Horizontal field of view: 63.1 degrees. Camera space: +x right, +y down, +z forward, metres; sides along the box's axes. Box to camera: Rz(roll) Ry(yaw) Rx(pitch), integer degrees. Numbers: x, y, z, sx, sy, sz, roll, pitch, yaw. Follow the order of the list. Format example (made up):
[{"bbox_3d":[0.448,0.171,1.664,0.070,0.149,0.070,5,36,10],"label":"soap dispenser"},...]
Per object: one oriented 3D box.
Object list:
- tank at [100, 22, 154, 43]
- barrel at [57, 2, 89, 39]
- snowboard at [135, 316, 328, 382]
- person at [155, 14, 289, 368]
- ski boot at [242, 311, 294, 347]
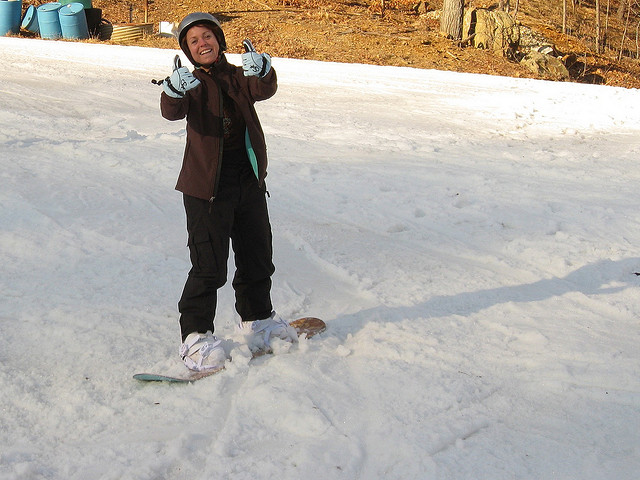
[{"bbox_3d":[-7.502,-7.902,19.856,1.829,0.740,1.688,0,20,-14],"label":"tank"},{"bbox_3d":[-9.133,-8.052,19.206,0.931,1.211,0.735,1,20,-10],"label":"barrel"},{"bbox_3d":[-0.659,0.850,3.845,1.249,0.127,0.298,-13,26,-43],"label":"snowboard"},{"bbox_3d":[-0.666,-0.326,3.675,0.773,2.321,0.710,-9,24,-33],"label":"person"},{"bbox_3d":[-0.467,0.702,4.065,0.502,0.211,0.174,0,9,-15],"label":"ski boot"}]
